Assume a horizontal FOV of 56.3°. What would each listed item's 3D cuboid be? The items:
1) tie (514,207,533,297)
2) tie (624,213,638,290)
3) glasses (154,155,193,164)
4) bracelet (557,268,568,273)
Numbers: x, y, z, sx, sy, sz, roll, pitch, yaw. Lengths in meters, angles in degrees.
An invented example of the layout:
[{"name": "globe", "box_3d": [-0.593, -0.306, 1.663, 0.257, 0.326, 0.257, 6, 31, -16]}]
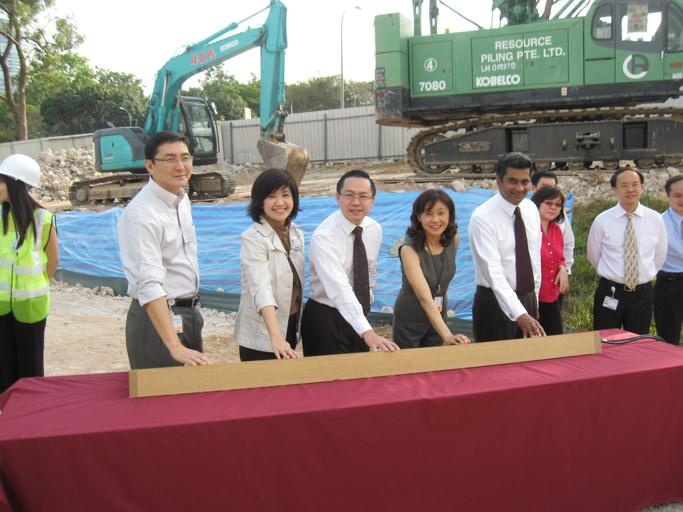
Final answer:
[{"name": "tie", "box_3d": [1.283, -0.029, 4.570, 0.122, 0.624, 0.152, -4, 9, -25]}, {"name": "tie", "box_3d": [2.335, -0.037, 5.167, 0.117, 0.593, 0.195, 3, 9, 22]}, {"name": "glasses", "box_3d": [-1.045, -0.600, 3.944, 0.190, 0.045, 0.067, -5, 9, -28]}, {"name": "bracelet", "box_3d": [1.807, 0.109, 5.255, 0.045, 0.037, 0.047, -1, 9, -1]}]
